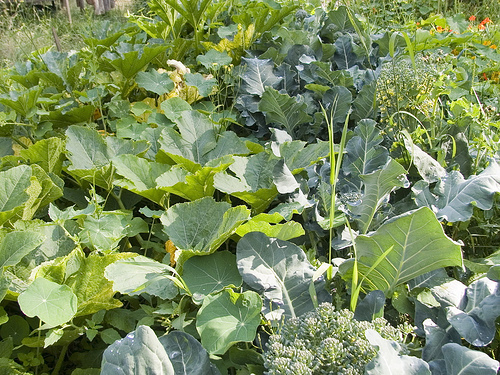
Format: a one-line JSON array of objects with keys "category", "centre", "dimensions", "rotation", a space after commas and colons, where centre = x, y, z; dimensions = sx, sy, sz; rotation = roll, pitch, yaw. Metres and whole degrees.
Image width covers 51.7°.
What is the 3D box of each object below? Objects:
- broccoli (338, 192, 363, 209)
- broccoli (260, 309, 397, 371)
[{"category": "broccoli", "centre": [0.400, 0.039, 2.050], "dimensions": [0.064, 0.029, 0.069], "rotation": [-17, 35, -36]}, {"category": "broccoli", "centre": [0.230, 0.480, 1.614], "dimensions": [0.266, 0.167, 0.227], "rotation": [-3, 19, 23]}]
